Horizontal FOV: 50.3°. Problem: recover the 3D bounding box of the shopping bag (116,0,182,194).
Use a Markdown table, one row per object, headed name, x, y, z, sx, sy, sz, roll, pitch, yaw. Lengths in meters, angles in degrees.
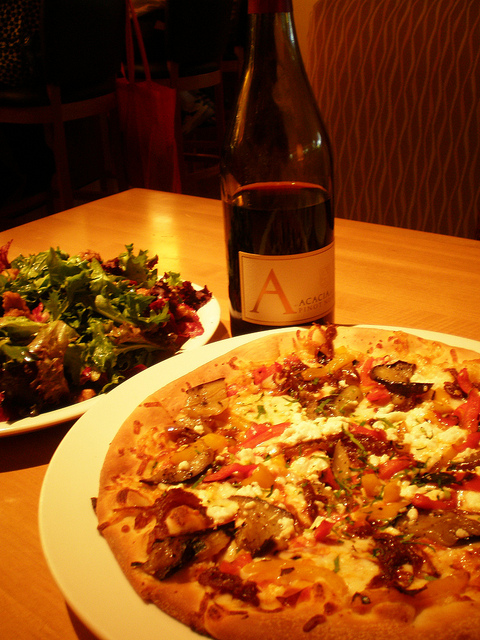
| name | x | y | z | sx | sy | sz | roll | pitch | yaw |
| --- | --- | --- | --- | --- | --- | --- | --- | --- | --- |
| shopping bag | -0.409 | -0.997 | 2.337 | 0.281 | 0.822 | 1.123 | -5 | 26 | -10 |
